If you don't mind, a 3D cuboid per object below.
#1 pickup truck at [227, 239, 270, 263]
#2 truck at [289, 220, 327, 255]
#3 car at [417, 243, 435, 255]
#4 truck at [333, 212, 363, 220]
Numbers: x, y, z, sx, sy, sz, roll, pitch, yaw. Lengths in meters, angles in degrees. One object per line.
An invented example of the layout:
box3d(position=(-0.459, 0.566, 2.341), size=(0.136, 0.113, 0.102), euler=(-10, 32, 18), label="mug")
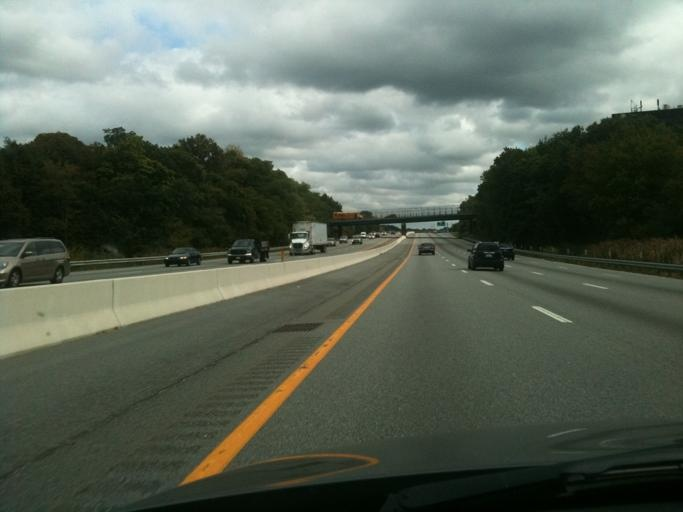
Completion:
box3d(position=(-6.717, -0.399, 50.953), size=(1.424, 1.101, 4.028), euler=(-1, -2, 7), label="pickup truck")
box3d(position=(-3.541, -1.624, 67.876), size=(1.859, 2.218, 5.811), euler=(-1, -2, 14), label="truck")
box3d(position=(8.028, -0.759, 65.377), size=(0.965, 0.711, 2.149), euler=(2, 4, 12), label="car")
box3d(position=(1.397, -8.841, 151.684), size=(2.553, 1.954, 7.357), euler=(-9, 13, -36), label="truck")
